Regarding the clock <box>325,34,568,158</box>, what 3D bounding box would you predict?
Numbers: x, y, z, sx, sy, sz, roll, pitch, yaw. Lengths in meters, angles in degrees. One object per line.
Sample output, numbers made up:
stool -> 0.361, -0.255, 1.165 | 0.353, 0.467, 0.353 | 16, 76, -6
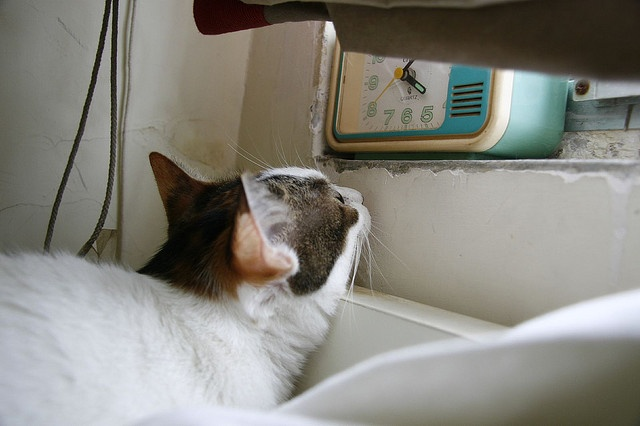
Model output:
clock -> 0.301, -0.282, 1.313 | 0.627, 0.272, 0.216 | 10, 3, 29
